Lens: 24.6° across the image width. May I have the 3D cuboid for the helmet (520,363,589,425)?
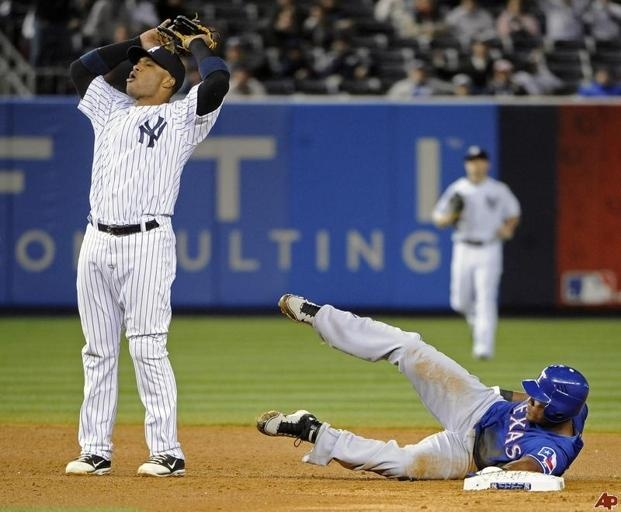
[{"bbox_3d":[1.858,1.034,10.871,0.551,0.383,0.396,4,20,-1],"label":"helmet"}]

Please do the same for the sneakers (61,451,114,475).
[{"bbox_3d":[-1.746,1.632,11.128,0.364,0.148,0.140,5,2,-10],"label":"sneakers"}]

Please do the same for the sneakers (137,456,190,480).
[{"bbox_3d":[-1.154,1.648,11.012,0.338,0.140,0.156,3,-1,-11],"label":"sneakers"}]

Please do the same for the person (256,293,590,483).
[{"bbox_3d":[0.944,1.207,10.969,2.150,1.387,0.850,10,-41,8],"label":"person"}]

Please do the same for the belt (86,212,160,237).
[{"bbox_3d":[-1.466,-0.226,10.947,0.563,0.161,0.111,2,-1,13],"label":"belt"}]

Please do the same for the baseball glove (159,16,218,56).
[{"bbox_3d":[-0.962,-1.818,11.349,0.492,0.189,0.351,10,7,-15],"label":"baseball glove"}]

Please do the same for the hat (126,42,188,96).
[{"bbox_3d":[-1.212,-1.486,11.124,0.418,0.210,0.295,37,-9,-29],"label":"hat"}]

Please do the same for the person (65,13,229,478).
[{"bbox_3d":[-1.341,-0.050,11.108,1.164,3.375,0.457,3,-1,1],"label":"person"}]

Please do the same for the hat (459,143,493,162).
[{"bbox_3d":[1.801,-1.108,15.529,0.260,0.154,0.259,2,-1,43],"label":"hat"}]

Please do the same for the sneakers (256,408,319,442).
[{"bbox_3d":[-0.173,1.316,11.006,0.589,0.189,0.251,1,20,-10],"label":"sneakers"}]

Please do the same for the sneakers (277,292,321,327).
[{"bbox_3d":[-0.047,0.433,11.252,0.450,0.144,0.195,9,3,8],"label":"sneakers"}]
